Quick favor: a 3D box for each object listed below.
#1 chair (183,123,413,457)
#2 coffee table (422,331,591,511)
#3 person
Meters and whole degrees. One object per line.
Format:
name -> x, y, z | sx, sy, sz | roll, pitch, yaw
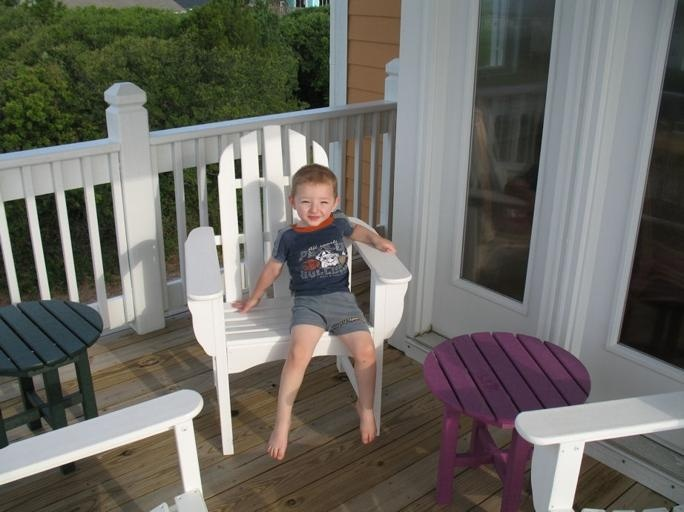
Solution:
chair -> -0.214, 0.179, 2.401 | 1.123, 1.464, 0.978 | -9, 39, -12
coffee table -> 0.586, 0.603, 2.075 | 0.575, 0.594, 0.634 | 16, 45, 18
person -> -0.094, 0.164, 2.122 | 0.689, 0.676, 1.149 | -1, 38, -5
